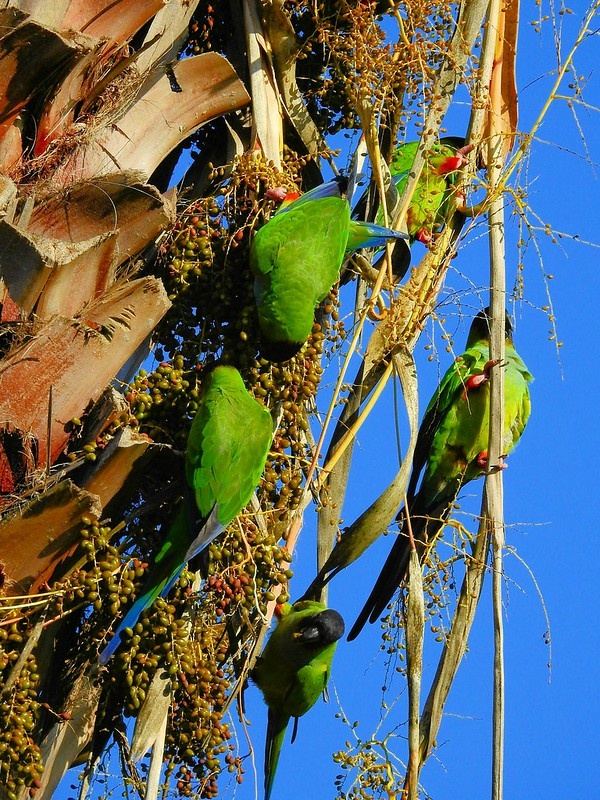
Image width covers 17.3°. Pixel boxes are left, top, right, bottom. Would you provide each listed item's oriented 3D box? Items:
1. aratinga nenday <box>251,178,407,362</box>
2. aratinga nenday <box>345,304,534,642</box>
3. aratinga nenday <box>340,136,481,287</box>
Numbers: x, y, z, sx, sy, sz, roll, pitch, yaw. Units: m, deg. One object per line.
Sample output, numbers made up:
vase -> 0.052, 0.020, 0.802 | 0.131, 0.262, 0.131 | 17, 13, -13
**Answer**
aratinga nenday -> 0.066, -0.348, 5.338 | 0.156, 0.522, 0.209 | 29, 2, -31
aratinga nenday -> 0.344, 0.170, 5.053 | 0.176, 0.811, 0.315 | 30, -8, -26
aratinga nenday -> 0.412, -0.608, 6.103 | 0.153, 0.432, 0.332 | -3, -13, -27
